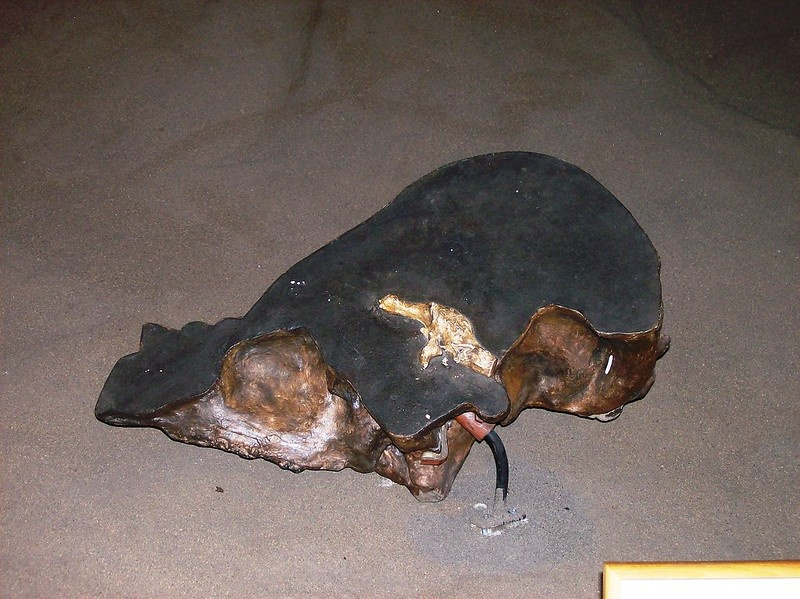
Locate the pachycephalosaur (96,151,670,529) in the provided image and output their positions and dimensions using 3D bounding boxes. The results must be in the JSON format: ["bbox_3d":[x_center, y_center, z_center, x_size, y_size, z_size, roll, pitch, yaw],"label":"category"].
[{"bbox_3d":[0.140,0.380,6.313,2.259,1.486,0.686,-29,-22,1],"label":"pachycephalosaur"}]
